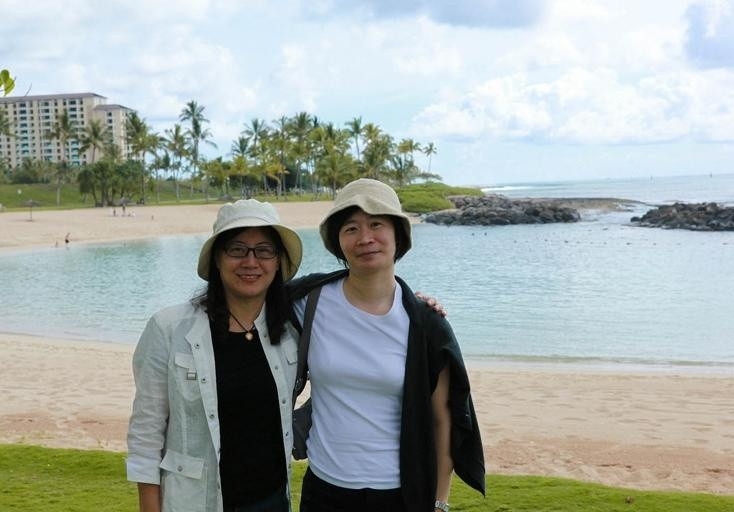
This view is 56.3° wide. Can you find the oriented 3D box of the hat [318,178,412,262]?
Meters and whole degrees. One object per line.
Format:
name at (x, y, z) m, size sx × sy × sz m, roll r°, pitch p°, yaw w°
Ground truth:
hat at (0.038, -0.392, 5.940) m, size 0.664 × 0.431 × 0.806 m, roll 0°, pitch -34°, yaw 7°
